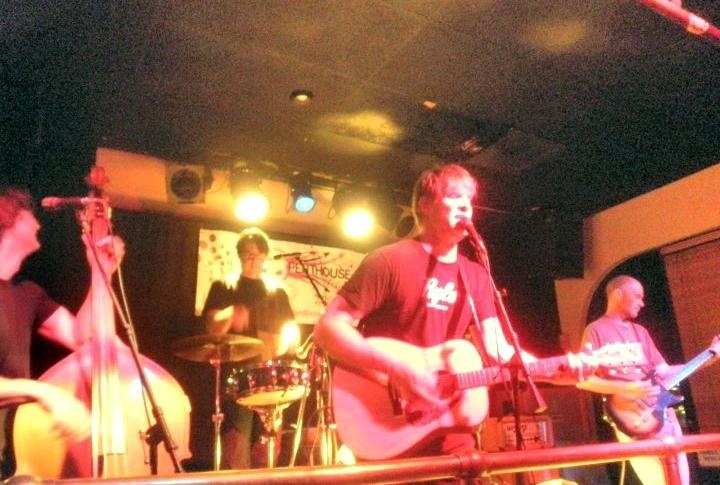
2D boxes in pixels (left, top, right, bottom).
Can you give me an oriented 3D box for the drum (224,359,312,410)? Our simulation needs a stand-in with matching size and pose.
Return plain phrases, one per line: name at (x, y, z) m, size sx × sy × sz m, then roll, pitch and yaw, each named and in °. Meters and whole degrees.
drum at (-0.798, 1.216, 5.973) m, size 0.536 × 0.179 × 0.535 m, roll -5°, pitch -33°, yaw -3°
